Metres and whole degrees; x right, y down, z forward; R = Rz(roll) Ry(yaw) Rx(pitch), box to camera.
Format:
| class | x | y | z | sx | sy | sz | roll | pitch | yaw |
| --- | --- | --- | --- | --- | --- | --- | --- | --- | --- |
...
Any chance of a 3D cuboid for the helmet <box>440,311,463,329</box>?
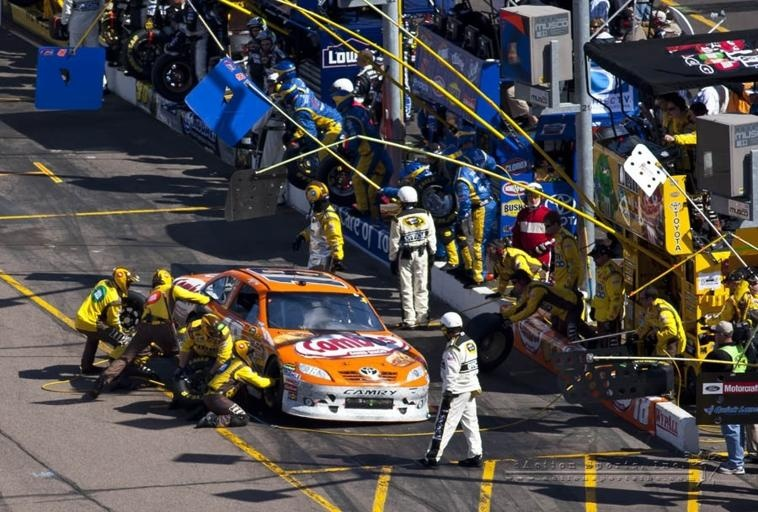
| class | x | y | z | sx | sy | sz | roll | pitch | yaw |
| --- | --- | --- | --- | --- | --- | --- | --- | --- | --- |
| helmet | 1.187 | 1.053 | 24.897 | 0.268 | 0.203 | 0.315 | -1 | 14 | -31 |

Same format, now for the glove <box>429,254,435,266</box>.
| class | x | y | z | sx | sy | sz | roll | pitch | yaw |
| --- | --- | --- | --- | --- | --- | --- | --- | --- | --- |
| glove | 1.019 | 0.088 | 29.374 | 0.058 | 0.220 | 0.208 | 9 | 5 | 21 |

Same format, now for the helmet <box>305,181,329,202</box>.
| class | x | y | z | sx | sy | sz | roll | pitch | yaw |
| --- | --- | --- | --- | --- | --- | --- | --- | --- | --- |
| helmet | -1.157 | -1.189 | 29.662 | 0.415 | 0.388 | 0.522 | 6 | 3 | -3 |

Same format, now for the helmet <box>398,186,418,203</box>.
| class | x | y | z | sx | sy | sz | roll | pitch | yaw |
| --- | --- | --- | --- | --- | --- | --- | --- | --- | --- |
| helmet | 0.544 | -1.118 | 29.155 | 0.353 | 0.315 | 0.328 | 7 | 4 | 27 |

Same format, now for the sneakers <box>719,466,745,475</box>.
| class | x | y | z | sx | sy | sz | roll | pitch | yaw |
| --- | --- | --- | --- | --- | --- | --- | --- | --- | --- |
| sneakers | 5.647 | 3.415 | 24.685 | 0.391 | 0.126 | 0.130 | 3 | 1 | 1 |

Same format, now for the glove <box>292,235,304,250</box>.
| class | x | y | z | sx | sy | sz | roll | pitch | yaw |
| --- | --- | --- | --- | --- | --- | --- | --- | --- | --- |
| glove | -1.577 | -0.233 | 30.794 | 0.330 | 0.254 | 0.122 | 12 | 10 | -22 |

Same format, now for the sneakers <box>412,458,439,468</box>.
| class | x | y | z | sx | sy | sz | roll | pitch | yaw |
| --- | --- | --- | --- | --- | --- | --- | --- | --- | --- |
| sneakers | 0.778 | 3.290 | 24.762 | 0.368 | 0.158 | 0.163 | 7 | 4 | 39 |

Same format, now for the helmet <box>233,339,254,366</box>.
| class | x | y | z | sx | sy | sz | roll | pitch | yaw |
| --- | --- | --- | --- | --- | --- | --- | --- | --- | --- |
| helmet | -2.222 | 1.621 | 25.732 | 0.339 | 0.409 | 0.333 | 6 | 4 | -4 |

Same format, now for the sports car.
| class | x | y | z | sx | sy | sz | roll | pitch | yaw |
| --- | --- | --- | --- | --- | --- | --- | --- | --- | --- |
| sports car | -1.352 | 1.227 | 27.754 | 2.875 | 1.455 | 5.445 | -3 | 18 | -29 |

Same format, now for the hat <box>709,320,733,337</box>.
| class | x | y | z | sx | sy | sz | roll | pitch | yaw |
| --- | --- | --- | --- | --- | --- | --- | --- | --- | --- |
| hat | 5.509 | 1.179 | 24.849 | 0.312 | 0.130 | 0.222 | 20 | 22 | 41 |

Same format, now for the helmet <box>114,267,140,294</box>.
| class | x | y | z | sx | sy | sz | roll | pitch | yaw |
| --- | --- | --- | --- | --- | --- | --- | --- | --- | --- |
| helmet | -4.432 | 0.452 | 26.992 | 0.284 | 0.439 | 0.495 | 8 | 5 | 27 |
